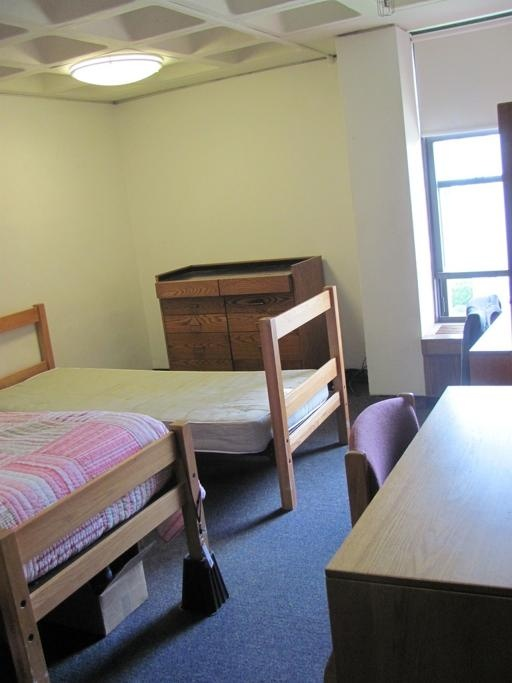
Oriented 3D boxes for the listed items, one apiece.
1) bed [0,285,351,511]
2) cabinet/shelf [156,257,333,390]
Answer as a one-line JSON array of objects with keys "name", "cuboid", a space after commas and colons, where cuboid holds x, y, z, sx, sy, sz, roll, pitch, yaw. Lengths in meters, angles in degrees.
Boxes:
[{"name": "bed", "cuboid": [-0.558, 0.284, 3.190, 2.071, 1.002, 1.131, 3, 14, 22]}, {"name": "cabinet/shelf", "cuboid": [-0.097, -0.164, 4.325, 1.291, 0.992, 0.735, 0, 15, 31]}]
